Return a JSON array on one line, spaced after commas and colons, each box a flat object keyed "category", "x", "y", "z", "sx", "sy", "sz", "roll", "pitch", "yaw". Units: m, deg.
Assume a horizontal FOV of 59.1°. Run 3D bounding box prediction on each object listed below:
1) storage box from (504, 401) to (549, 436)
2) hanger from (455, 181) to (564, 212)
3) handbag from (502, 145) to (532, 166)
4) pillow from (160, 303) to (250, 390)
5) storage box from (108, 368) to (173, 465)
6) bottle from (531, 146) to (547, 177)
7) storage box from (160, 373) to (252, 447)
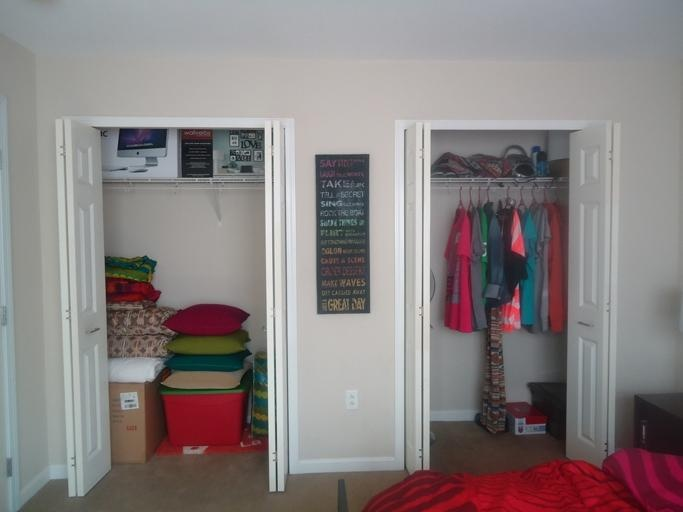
[{"category": "storage box", "x": 1.667, "y": 1.465, "z": 5.562, "sx": 0.336, "sy": 0.151, "sz": 0.414, "roll": -2, "pitch": 16, "yaw": -6}, {"category": "hanger", "x": 1.556, "y": -0.491, "z": 5.495, "sx": 1.154, "sy": 0.081, "sz": 0.211, "roll": 1, "pitch": -35, "yaw": 1}, {"category": "handbag", "x": 1.621, "y": -0.931, "z": 5.583, "sx": 0.191, "sy": 0.239, "sz": 0.124, "roll": 0, "pitch": -37, "yaw": -6}, {"category": "pillow", "x": -1.166, "y": 0.803, "z": 5.286, "sx": 0.657, "sy": 0.623, "sz": 0.676, "roll": 0, "pitch": -11, "yaw": -2}, {"category": "storage box", "x": -1.723, "y": 1.293, "z": 5.251, "sx": 0.493, "sy": 0.678, "sz": 0.942, "roll": -1, "pitch": -8, "yaw": -4}, {"category": "bottle", "x": 1.817, "y": -0.877, "z": 5.548, "sx": 0.154, "sy": 0.249, "sz": 0.371, "roll": 4, "pitch": 16, "yaw": 16}, {"category": "storage box", "x": -1.165, "y": 1.402, "z": 5.473, "sx": 0.752, "sy": 0.496, "sz": 0.629, "roll": -3, "pitch": -2, "yaw": 4}]
